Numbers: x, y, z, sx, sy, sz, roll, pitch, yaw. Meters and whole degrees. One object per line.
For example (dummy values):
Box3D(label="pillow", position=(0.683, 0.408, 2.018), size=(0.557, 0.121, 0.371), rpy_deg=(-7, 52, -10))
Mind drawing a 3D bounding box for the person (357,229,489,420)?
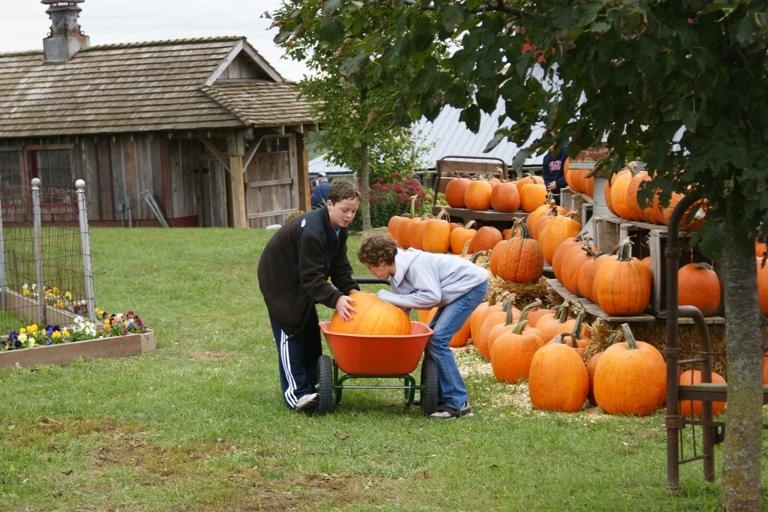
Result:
Box3D(label="person", position=(0.403, 0.576, 10.095), size=(1.153, 1.583, 0.734), rpy_deg=(0, 1, 0))

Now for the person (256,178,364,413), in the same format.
Box3D(label="person", position=(-0.625, 0.357, 9.868), size=(1.043, 1.927, 0.783), rpy_deg=(0, 1, 8))

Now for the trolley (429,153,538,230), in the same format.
Box3D(label="trolley", position=(1.348, -0.993, 16.418), size=(1.016, 1.097, 1.761), rpy_deg=(-2, 2, -20))
